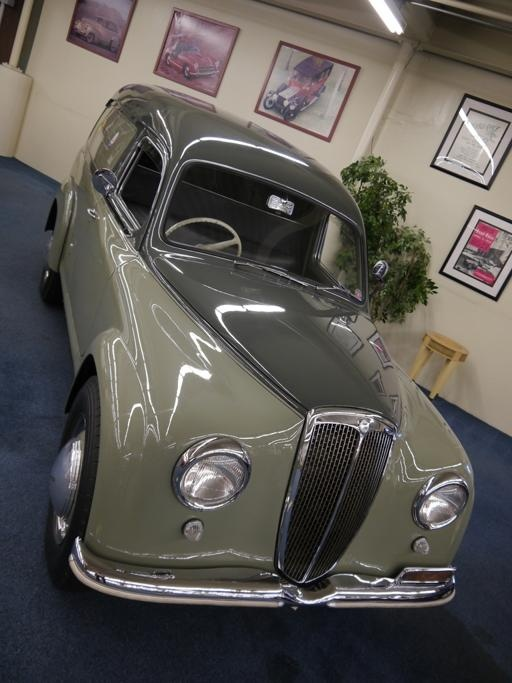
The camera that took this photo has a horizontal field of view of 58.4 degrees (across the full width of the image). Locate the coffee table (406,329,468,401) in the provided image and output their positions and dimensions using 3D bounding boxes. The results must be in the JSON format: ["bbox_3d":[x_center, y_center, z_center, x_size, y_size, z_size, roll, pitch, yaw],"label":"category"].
[{"bbox_3d":[2.061,0.290,5.330,0.509,0.603,0.516,15,16,-37],"label":"coffee table"}]
